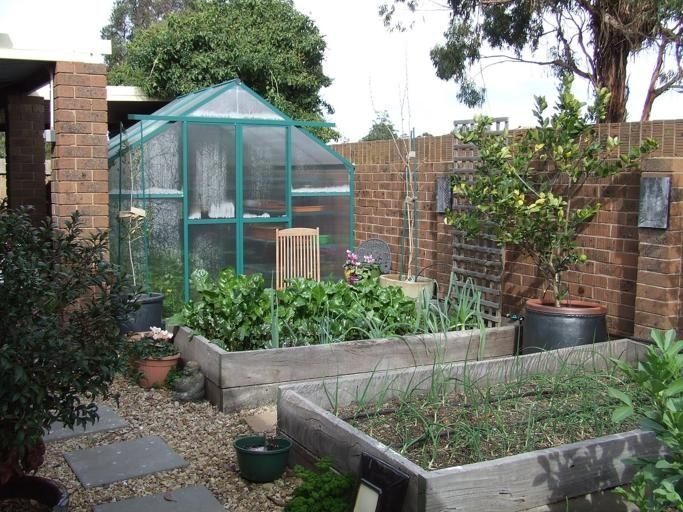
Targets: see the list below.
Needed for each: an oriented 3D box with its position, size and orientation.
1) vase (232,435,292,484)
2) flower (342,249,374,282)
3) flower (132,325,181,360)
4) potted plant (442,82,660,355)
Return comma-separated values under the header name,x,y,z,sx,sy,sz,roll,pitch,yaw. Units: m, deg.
name,x,y,z,sx,sy,sz,roll,pitch,yaw
vase,-0.493,1.235,3.354,0.299,0.211,0.318,-3,-1,11
flower,0.224,0.151,7.410,0.397,0.313,0.360,15,17,38
flower,-1.617,0.772,4.846,0.396,0.332,0.411,1,6,-16
potted plant,2.009,-0.248,5.164,1.403,2.227,1.494,-1,-1,-18
